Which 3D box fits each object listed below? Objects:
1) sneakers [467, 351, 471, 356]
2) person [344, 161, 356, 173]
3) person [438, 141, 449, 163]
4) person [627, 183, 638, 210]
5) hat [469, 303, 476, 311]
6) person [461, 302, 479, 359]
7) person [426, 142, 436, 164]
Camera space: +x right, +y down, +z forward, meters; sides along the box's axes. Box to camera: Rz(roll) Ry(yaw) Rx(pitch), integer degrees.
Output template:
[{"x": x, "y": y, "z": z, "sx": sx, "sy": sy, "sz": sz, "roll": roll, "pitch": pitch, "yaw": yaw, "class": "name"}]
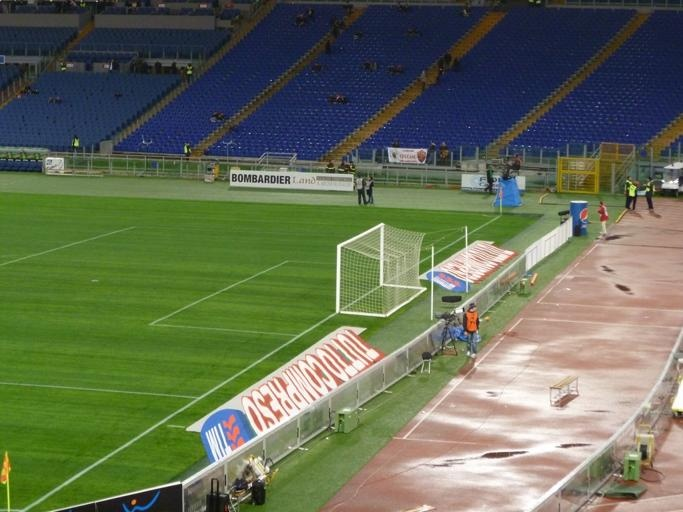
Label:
[{"x": 4.899, "y": 3.705, "z": 58.300, "sx": 0.136, "sy": 0.177, "sz": 0.388, "roll": 6, "pitch": 9, "yaw": 3, "class": "sneakers"}, {"x": 0.466, "y": -5.263, "z": 90.331, "sx": 0.807, "sy": 0.657, "sz": 0.174, "roll": -1, "pitch": -32, "yaw": 2, "class": "person"}, {"x": 6.129, "y": -6.020, "z": 90.202, "sx": 0.599, "sy": 1.221, "sz": 0.615, "roll": 0, "pitch": 14, "yaw": 3, "class": "person"}, {"x": 15.353, "y": -3.177, "z": 80.003, "sx": 0.443, "sy": 1.617, "sz": 1.030, "roll": 1, "pitch": 14, "yaw": 7, "class": "person"}, {"x": 4.966, "y": 1.909, "z": 58.017, "sx": 0.251, "sy": 0.221, "sz": 0.212, "roll": -2, "pitch": 3, "yaw": 34, "class": "hat"}, {"x": 4.980, "y": 2.817, "z": 58.126, "sx": 0.499, "sy": 2.051, "sz": 0.631, "roll": -1, "pitch": 14, "yaw": 2, "class": "person"}, {"x": 5.339, "y": -6.062, "z": 90.492, "sx": 0.573, "sy": 1.285, "sz": 0.636, "roll": -1, "pitch": 14, "yaw": 0, "class": "person"}]
